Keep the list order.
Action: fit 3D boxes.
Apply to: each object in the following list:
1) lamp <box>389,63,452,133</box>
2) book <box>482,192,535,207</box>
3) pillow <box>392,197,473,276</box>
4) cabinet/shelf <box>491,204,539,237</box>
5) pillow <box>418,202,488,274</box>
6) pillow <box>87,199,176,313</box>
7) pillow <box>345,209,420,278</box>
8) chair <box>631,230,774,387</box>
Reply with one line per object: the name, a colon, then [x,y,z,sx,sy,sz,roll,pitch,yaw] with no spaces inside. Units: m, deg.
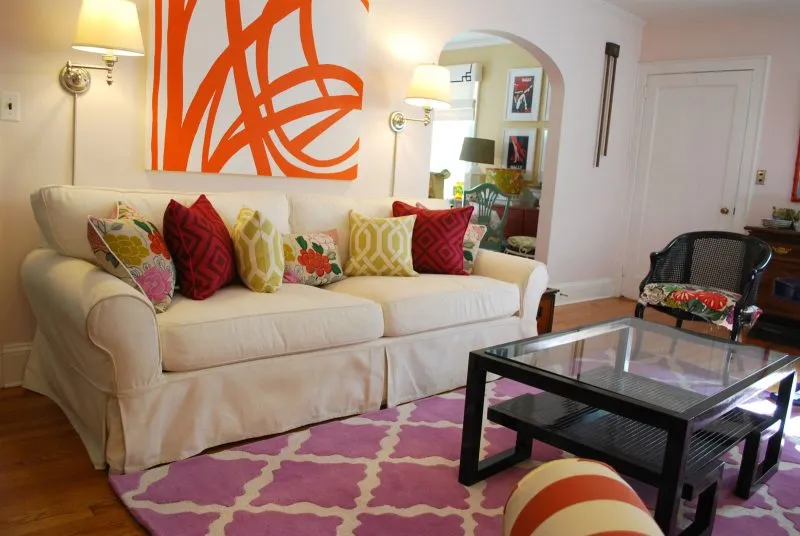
lamp: [0.209,-1.312,4.312,0.481,0.510,0.478,-5,15,-31]
book: [1.501,-0.862,7.038,0.301,0.168,0.289,-3,6,-30]
pillow: [0.216,-0.196,3.785,0.580,0.487,0.206,3,-7,2]
cabinet/shelf: [1.404,-0.580,6.718,0.488,0.429,0.173,10,14,42]
pillow: [0.456,-0.160,4.147,0.534,0.490,0.205,15,-18,-11]
pillow: [-1.309,-0.040,2.687,0.293,0.468,0.390,-21,-21,-12]
pillow: [-0.118,-0.146,3.665,0.507,0.426,0.180,1,-3,-3]
chair: [2.257,0.223,4.281,1.033,1.170,0.950,12,7,42]
